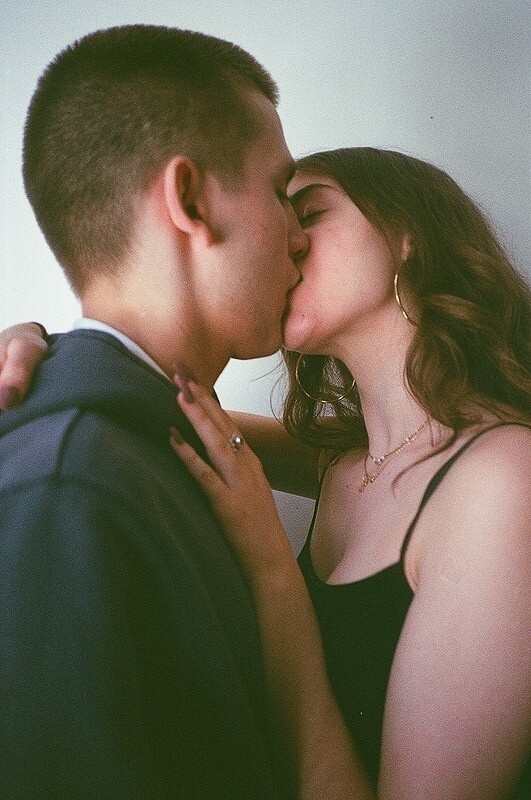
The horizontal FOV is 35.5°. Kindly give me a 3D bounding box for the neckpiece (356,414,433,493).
[{"bbox_3d":[0.231,0.095,1.454,0.200,0.065,0.018,-39,25,28],"label":"neckpiece"}]

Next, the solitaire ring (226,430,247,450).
[{"bbox_3d":[-0.042,0.060,1.246,0.011,0.025,0.030,1,-9,44],"label":"solitaire ring"}]
